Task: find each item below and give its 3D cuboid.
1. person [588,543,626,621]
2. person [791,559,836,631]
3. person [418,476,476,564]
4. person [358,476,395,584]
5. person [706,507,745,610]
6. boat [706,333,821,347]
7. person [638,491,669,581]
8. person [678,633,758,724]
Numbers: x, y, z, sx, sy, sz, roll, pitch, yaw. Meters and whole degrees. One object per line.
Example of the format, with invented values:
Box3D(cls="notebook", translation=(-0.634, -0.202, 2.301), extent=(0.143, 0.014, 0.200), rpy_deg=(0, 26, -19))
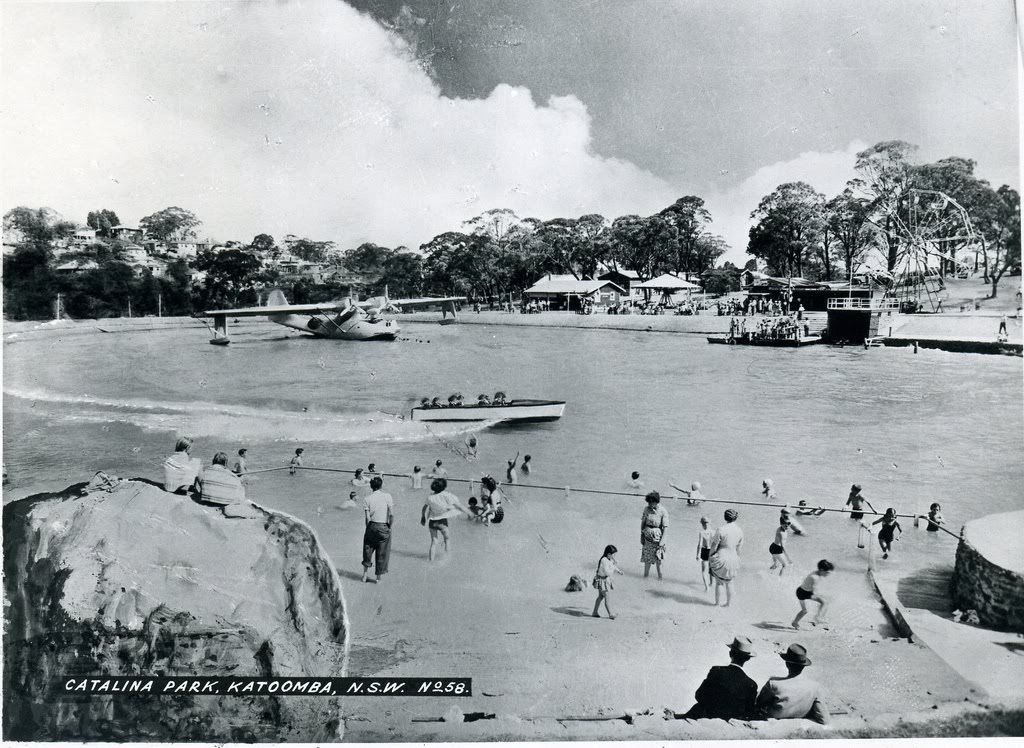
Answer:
Box3D(cls="person", translation=(1.049, 2.302, 9.446), extent=(0.311, 0.876, 0.741), rpy_deg=(1, 4, 7))
Box3D(cls="person", translation=(3.412, 2.488, 9.506), extent=(0.379, 0.771, 0.529), rpy_deg=(2, 4, 21))
Box3D(cls="person", translation=(-0.795, 1.742, 9.847), extent=(0.572, 1.071, 0.318), rpy_deg=(1, 14, -11))
Box3D(cls="person", translation=(-1.564, 1.861, 9.510), extent=(0.321, 1.056, 0.344), rpy_deg=(-1, 4, -11))
Box3D(cls="person", translation=(2.374, 2.074, 9.349), extent=(0.335, 1.164, 0.592), rpy_deg=(1, 4, 13))
Box3D(cls="boat", translation=(4.269, -0.591, 14.131), extent=(1.905, 0.227, 1.273), rpy_deg=(-2, 4, -28))
Box3D(cls="person", translation=(1.623, 1.858, 9.640), extent=(0.295, 1.065, 0.665), rpy_deg=(1, 4, 9))
Box3D(cls="person", translation=(2.158, 3.182, 8.552), extent=(0.386, 1.155, 0.831), rpy_deg=(-2, 5, -31))
